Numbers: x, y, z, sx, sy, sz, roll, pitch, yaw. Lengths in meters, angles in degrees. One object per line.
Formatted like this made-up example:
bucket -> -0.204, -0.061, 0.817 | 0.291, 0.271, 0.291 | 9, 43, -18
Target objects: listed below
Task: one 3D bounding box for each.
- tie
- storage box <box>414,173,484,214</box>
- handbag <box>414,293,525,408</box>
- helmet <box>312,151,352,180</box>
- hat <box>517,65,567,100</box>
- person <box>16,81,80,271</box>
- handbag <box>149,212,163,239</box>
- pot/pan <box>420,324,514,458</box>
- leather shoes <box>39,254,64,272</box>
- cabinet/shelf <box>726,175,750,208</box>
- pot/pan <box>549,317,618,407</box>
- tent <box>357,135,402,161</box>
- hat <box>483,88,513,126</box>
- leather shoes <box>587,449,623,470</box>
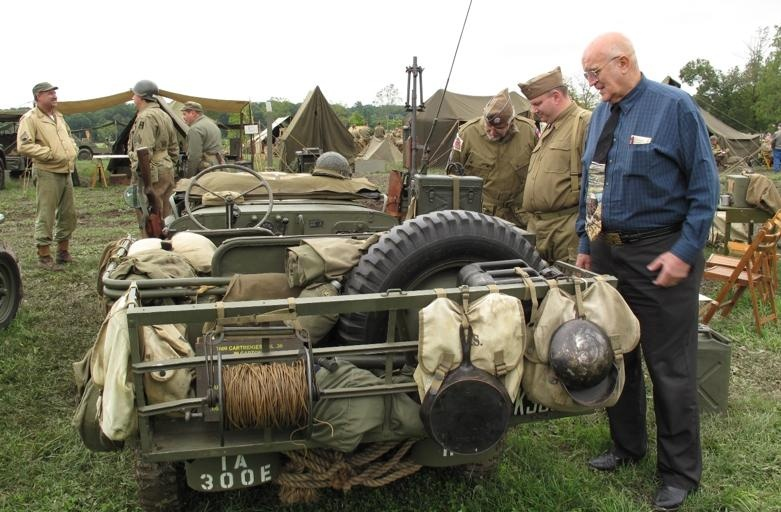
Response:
tie -> 1.486, -0.569, 5.104 | 0.175, 0.924, 0.184 | 3, 2, 6
storage box -> 0.520, -0.572, 6.547 | 0.563, 0.436, 0.397 | -1, 12, -7
handbag -> 0.499, 0.501, 4.399 | 0.472, 0.817, 0.485 | 0, -1, -4
helmet -> -0.581, -0.937, 7.581 | 0.265, 0.185, 0.349 | 13, 4, 42
hat -> 1.363, -1.552, 6.458 | 0.426, 0.291, 0.440 | 2, 5, 12
person -> -4.503, -1.052, 9.413 | 0.678, 2.361, 0.894 | -1, 5, -25
handbag -> -2.590, -0.333, 7.895 | 0.171, 0.263, 0.083 | -3, 9, -22
pot/pan -> 0.466, 0.831, 4.413 | 0.556, 0.792, 0.109 | 1, 4, -4
leather shoes -> -4.422, 0.092, 9.340 | 0.282, 0.191, 0.261 | -2, 6, -36
cabinet/shelf -> 4.204, -0.781, 8.719 | 0.208, 0.388, 0.348 | 1, 5, 0
pot/pan -> 1.225, 0.673, 4.515 | 0.444, 0.555, 0.184 | -1, 4, -18
tent -> -0.319, -3.750, 25.204 | 1.325, 0.947, 1.281 | 1, 5, -2
hat -> 1.019, -1.436, 6.889 | 0.266, 0.345, 0.429 | 2, 5, 16
leather shoes -> 1.591, 1.517, 5.330 | 0.221, 0.109, 0.125 | 2, -4, 2
